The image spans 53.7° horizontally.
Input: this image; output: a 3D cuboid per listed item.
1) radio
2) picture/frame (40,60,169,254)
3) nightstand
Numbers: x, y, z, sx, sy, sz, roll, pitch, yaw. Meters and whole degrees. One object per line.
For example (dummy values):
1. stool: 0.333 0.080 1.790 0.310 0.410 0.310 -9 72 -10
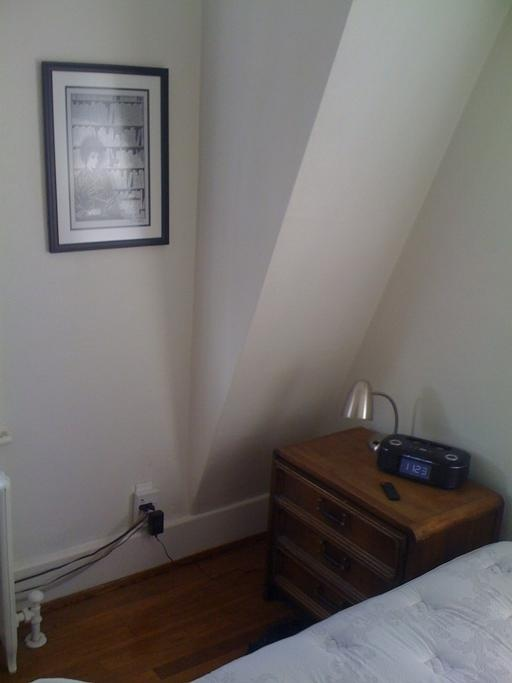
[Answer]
1. radio: 0.509 0.371 1.609 0.314 0.096 0.186 9 10 32
2. picture/frame: -0.442 -0.545 1.534 0.371 0.531 0.018 1 7 4
3. nightstand: 0.512 0.618 1.823 0.681 0.570 0.736 -12 20 -34
